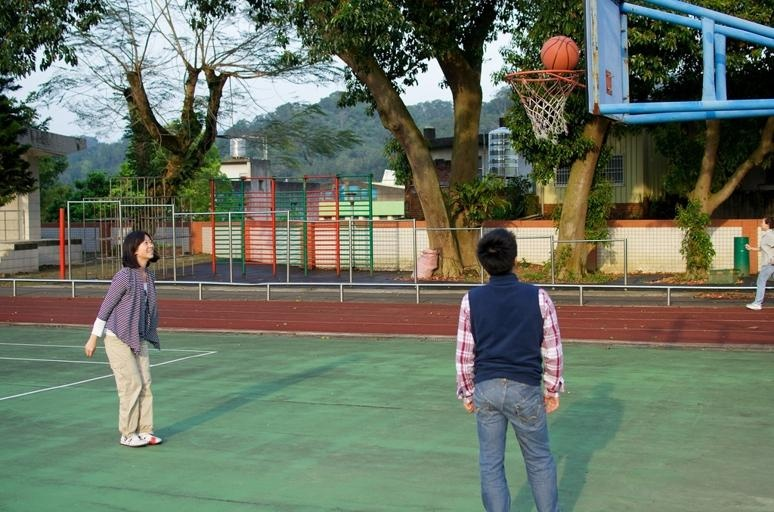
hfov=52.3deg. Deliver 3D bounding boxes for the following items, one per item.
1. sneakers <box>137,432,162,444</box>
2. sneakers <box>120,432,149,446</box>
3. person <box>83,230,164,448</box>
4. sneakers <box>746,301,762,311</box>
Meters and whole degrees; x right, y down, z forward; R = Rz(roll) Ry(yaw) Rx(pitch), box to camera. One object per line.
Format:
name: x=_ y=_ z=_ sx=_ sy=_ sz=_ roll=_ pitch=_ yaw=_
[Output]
sneakers: x=-3.351 y=2.556 z=11.036 sx=0.342 sy=0.150 sz=0.122 roll=4 pitch=2 yaw=1
sneakers: x=-3.542 y=2.579 z=11.024 sx=0.384 sy=0.173 sz=0.153 roll=-1 pitch=-2 yaw=16
person: x=-3.595 y=1.151 z=10.927 sx=0.875 sy=3.017 sz=0.461 roll=0 pitch=1 yaw=-19
sneakers: x=9.160 y=1.261 z=19.591 sx=0.448 sy=0.192 sz=0.177 roll=2 pitch=2 yaw=2
